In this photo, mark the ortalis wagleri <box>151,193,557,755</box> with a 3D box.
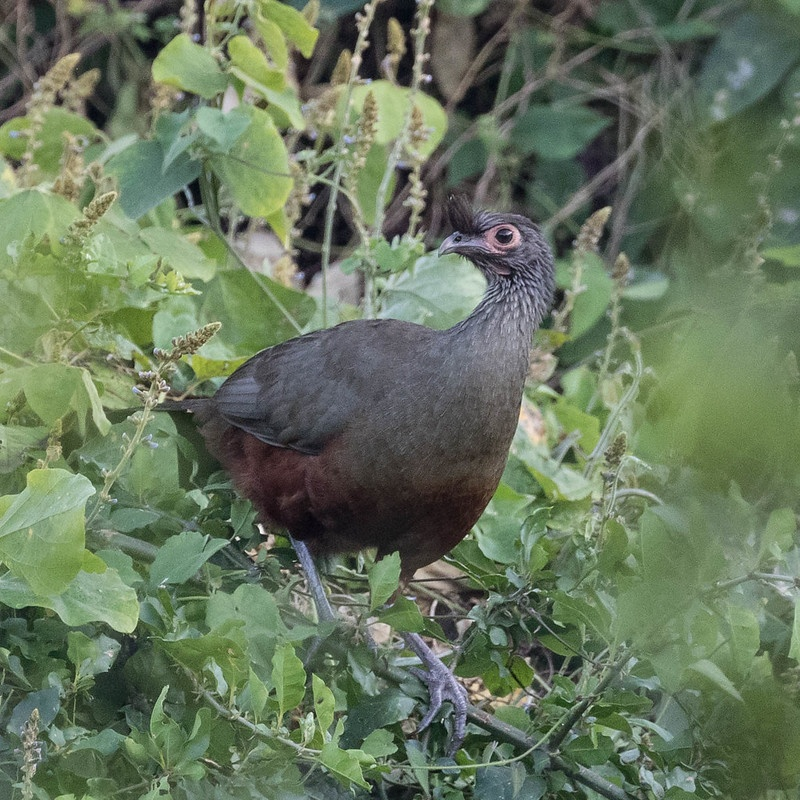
[{"bbox_3d":[-0.087,0.036,2.912,0.531,1.022,1.513,-2,11,-26],"label":"ortalis wagleri"}]
